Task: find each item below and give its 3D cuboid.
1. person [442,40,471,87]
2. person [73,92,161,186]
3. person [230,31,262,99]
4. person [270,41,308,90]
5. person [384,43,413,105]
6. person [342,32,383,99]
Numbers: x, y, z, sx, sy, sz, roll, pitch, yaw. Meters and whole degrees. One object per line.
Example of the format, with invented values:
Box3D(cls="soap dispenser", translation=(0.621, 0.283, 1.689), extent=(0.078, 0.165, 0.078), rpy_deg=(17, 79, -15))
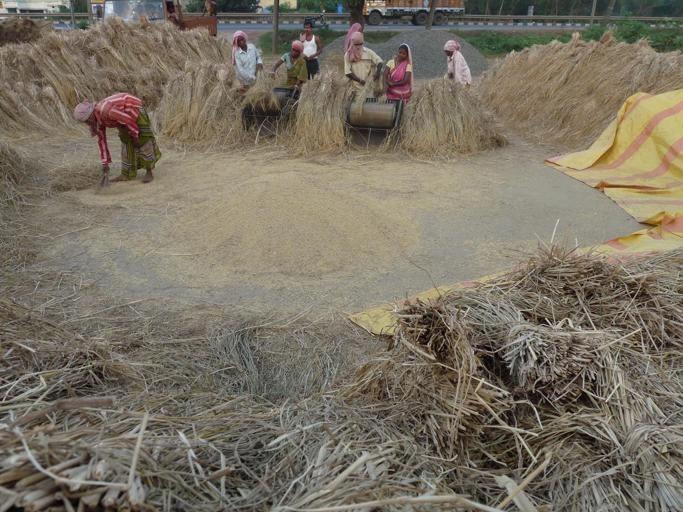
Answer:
Box3D(cls="person", translation=(2.099, -3.435, 9.511), extent=(0.511, 0.763, 1.788), rpy_deg=(5, 26, 10))
Box3D(cls="person", translation=(-2.461, -1.280, 5.891), extent=(0.741, 0.967, 0.326), rpy_deg=(-11, 32, -19))
Box3D(cls="person", translation=(-1.462, -3.017, 8.269), extent=(0.443, 0.878, 0.853), rpy_deg=(-6, 28, -9))
Box3D(cls="person", translation=(-0.748, -2.893, 8.270), extent=(0.591, 0.824, 0.471), rpy_deg=(29, 52, 22))
Box3D(cls="person", translation=(0.838, -2.807, 8.045), extent=(0.391, 0.769, 0.546), rpy_deg=(-16, 33, -26))
Box3D(cls="person", translation=(0.339, -2.916, 8.053), extent=(0.591, 0.898, 1.078), rpy_deg=(2, 27, 4))
